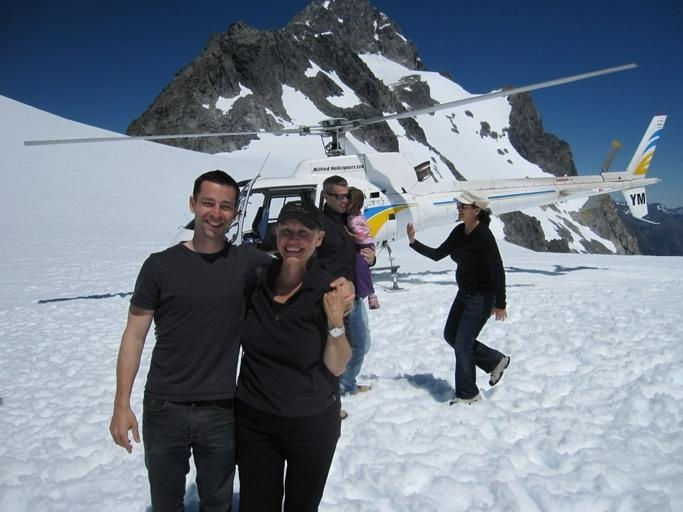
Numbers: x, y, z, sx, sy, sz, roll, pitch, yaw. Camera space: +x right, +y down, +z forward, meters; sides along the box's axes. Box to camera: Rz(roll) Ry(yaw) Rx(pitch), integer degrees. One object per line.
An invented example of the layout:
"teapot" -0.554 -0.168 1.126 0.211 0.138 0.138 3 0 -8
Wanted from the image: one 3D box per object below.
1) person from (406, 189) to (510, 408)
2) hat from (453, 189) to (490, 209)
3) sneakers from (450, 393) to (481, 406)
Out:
"person" 1.564 0.527 5.440 0.645 2.615 1.027 -5 10 -39
"hat" 1.537 -0.626 5.182 0.337 0.100 0.241 13 12 -8
"sneakers" 1.550 1.791 5.462 0.397 0.156 0.139 -2 8 -9
